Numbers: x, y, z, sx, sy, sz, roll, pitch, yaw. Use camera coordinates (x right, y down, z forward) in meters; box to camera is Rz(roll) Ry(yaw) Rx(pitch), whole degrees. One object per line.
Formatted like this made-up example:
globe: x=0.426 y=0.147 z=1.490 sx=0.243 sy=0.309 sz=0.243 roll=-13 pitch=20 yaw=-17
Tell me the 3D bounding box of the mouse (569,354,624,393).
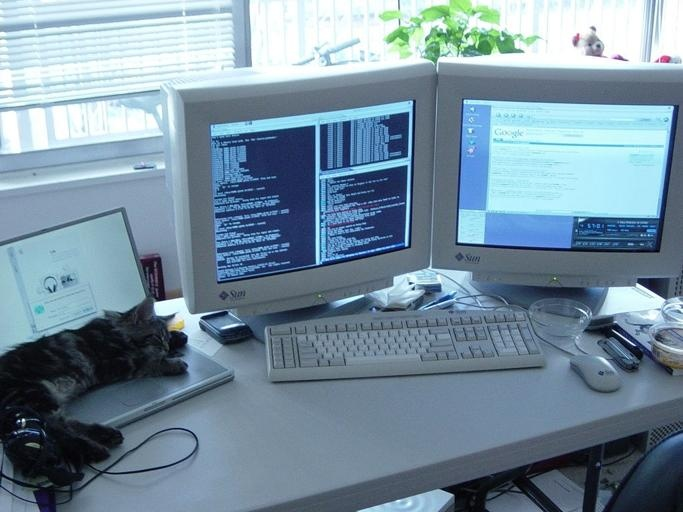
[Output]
mouse: x=0.569 y=0.257 z=1.266 sx=0.083 sy=0.043 sz=0.135 roll=-2 pitch=3 yaw=8
